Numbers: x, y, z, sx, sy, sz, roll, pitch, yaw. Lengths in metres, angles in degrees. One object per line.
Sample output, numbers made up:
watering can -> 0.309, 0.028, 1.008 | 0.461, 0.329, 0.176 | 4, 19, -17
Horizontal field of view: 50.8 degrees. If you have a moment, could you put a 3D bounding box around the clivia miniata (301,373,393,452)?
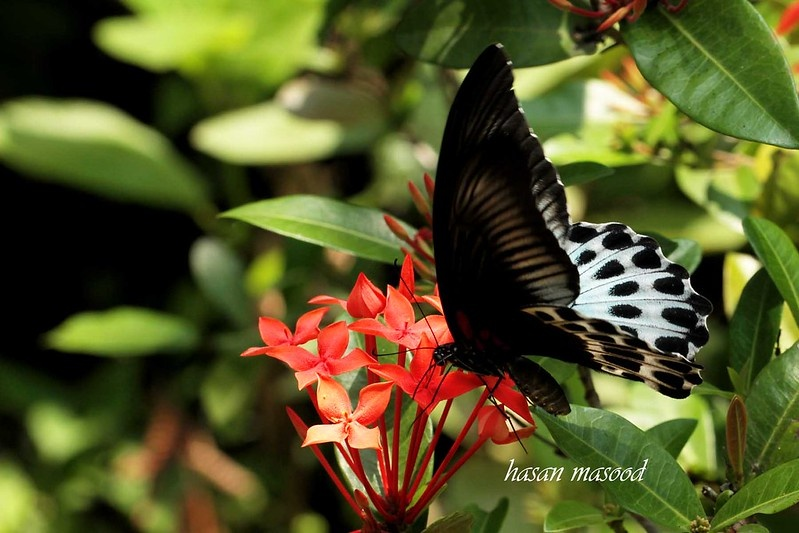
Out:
clivia miniata -> -0.115, 0.339, 1.923 | 0.184, 0.077, 0.200 | 8, 35, -8

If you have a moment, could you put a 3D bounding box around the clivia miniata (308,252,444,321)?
clivia miniata -> -0.064, 0.076, 2.067 | 0.232, 0.192, 0.111 | 11, 79, -25

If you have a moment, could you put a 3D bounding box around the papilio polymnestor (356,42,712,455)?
papilio polymnestor -> 0.395, -0.060, 1.927 | 0.636, 0.721, 0.499 | 3, 44, 11
